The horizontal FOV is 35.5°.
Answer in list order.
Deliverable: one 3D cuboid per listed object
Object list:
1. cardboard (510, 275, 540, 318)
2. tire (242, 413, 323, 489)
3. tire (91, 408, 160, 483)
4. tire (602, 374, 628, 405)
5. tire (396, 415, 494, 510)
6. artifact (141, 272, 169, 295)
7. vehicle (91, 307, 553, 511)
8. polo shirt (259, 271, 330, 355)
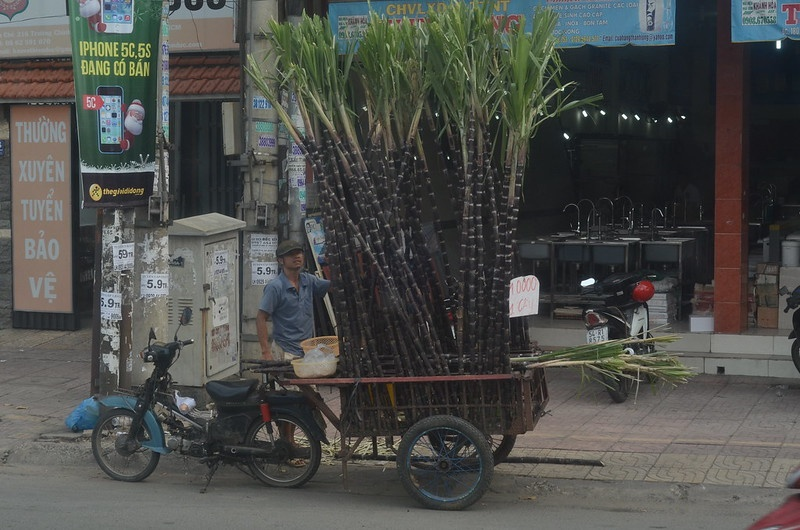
[{"bbox_3d":[1.294,0.322,13.113,0.034,0.363,0.423,2,5,36],"label":"cardboard"},{"bbox_3d":[-1.310,2.028,13.693,0.769,0.813,0.231,2,6,9],"label":"tire"},{"bbox_3d":[-3.005,2.080,14.219,0.798,0.866,0.800,-16,-17,30],"label":"tire"},{"bbox_3d":[2.782,1.590,16.025,0.156,0.471,0.461,-11,-3,34],"label":"tire"},{"bbox_3d":[0.470,2.068,13.137,0.967,1.016,0.164,0,0,10],"label":"tire"},{"bbox_3d":[-2.924,0.219,14.791,0.257,0.200,0.262,1,-1,10],"label":"artifact"},{"bbox_3d":[-0.927,1.456,14.434,5.703,2.368,1.963,1,1,11],"label":"vehicle"},{"bbox_3d":[-1.273,0.547,14.487,0.371,0.795,1.001,2,6,37],"label":"polo shirt"}]
